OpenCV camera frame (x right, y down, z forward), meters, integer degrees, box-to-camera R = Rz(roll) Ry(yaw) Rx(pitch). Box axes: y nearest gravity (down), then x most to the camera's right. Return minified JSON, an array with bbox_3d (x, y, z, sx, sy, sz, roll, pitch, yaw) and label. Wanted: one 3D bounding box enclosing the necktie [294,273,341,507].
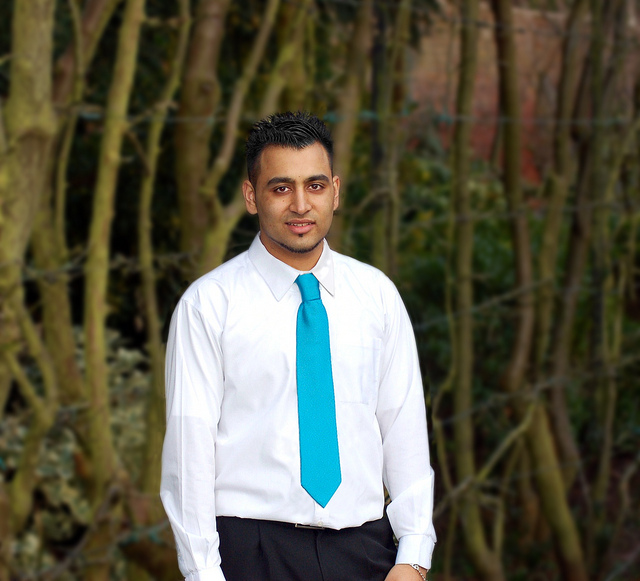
[{"bbox_3d":[-0.004,0.289,3.731,0.132,0.672,0.100,2,-1,-2],"label":"necktie"}]
